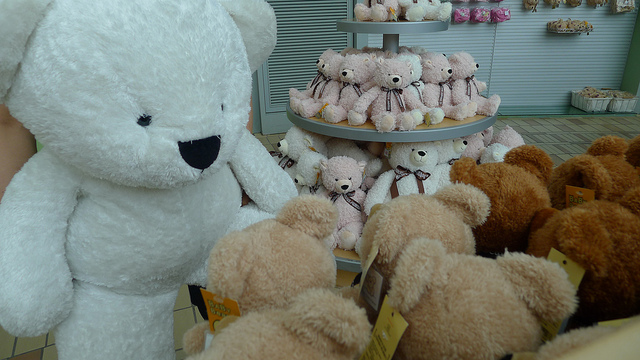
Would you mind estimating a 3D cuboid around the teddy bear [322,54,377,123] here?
[{"bbox_3d":[0.172,-0.529,2.714,0.258,0.382,0.327,6,32,14],"label":"teddy bear"}]

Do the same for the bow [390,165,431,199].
[{"bbox_3d":[0.480,0.013,2.468,0.183,0.041,0.179,-3,61,7],"label":"bow"}]

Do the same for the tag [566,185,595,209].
[{"bbox_3d":[0.985,0.073,1.809,0.107,0.104,0.007,2,-3,-2],"label":"tag"}]

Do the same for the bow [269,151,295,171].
[{"bbox_3d":[-0.237,-0.135,2.954,0.153,0.039,0.110,36,5,17],"label":"bow"}]

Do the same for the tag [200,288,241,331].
[{"bbox_3d":[-0.316,0.421,1.535,0.165,0.168,0.013,10,37,27],"label":"tag"}]

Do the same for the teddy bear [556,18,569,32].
[{"bbox_3d":[2.733,-1.756,5.361,0.138,0.132,0.052,8,-8,-20],"label":"teddy bear"}]

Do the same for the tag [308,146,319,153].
[{"bbox_3d":[-0.038,-0.180,2.768,0.058,0.017,0.023,42,12,-11],"label":"tag"}]

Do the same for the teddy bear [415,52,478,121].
[{"bbox_3d":[0.702,-0.549,2.739,0.402,0.445,0.318,8,22,30],"label":"teddy bear"}]

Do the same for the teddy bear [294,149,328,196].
[{"bbox_3d":[-0.045,-0.043,2.694,0.149,0.198,0.173,-26,38,-29],"label":"teddy bear"}]

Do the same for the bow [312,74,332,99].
[{"bbox_3d":[0.023,-0.552,2.861,0.039,0.138,0.092,19,13,-35],"label":"bow"}]

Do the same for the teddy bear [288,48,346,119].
[{"bbox_3d":[0.014,-0.578,2.829,0.380,0.400,0.273,-13,29,-28],"label":"teddy bear"}]

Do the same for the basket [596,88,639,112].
[{"bbox_3d":[3.388,-0.851,5.288,0.325,0.163,0.150,2,31,1],"label":"basket"}]

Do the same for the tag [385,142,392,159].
[{"bbox_3d":[0.382,-0.155,2.695,0.028,0.073,0.056,-1,7,-14],"label":"tag"}]

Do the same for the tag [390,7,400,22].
[{"bbox_3d":[0.434,-0.962,2.755,0.024,0.085,0.023,-19,-9,-26],"label":"tag"}]

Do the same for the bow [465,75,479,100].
[{"bbox_3d":[0.889,-0.551,2.798,0.074,0.111,0.031,-12,6,-33],"label":"bow"}]

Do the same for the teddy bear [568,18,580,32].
[{"bbox_3d":[2.863,-1.748,5.385,0.136,0.097,0.109,-14,34,-24],"label":"teddy bear"}]

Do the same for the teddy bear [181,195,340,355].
[{"bbox_3d":[-0.157,0.281,1.775,0.532,0.515,0.487,26,8,11],"label":"teddy bear"}]

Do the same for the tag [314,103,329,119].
[{"bbox_3d":[0.021,-0.398,2.720,0.078,0.029,0.058,-47,8,-14],"label":"tag"}]

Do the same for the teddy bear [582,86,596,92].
[{"bbox_3d":[3.156,-1.078,5.547,0.104,0.042,0.103,-2,25,12],"label":"teddy bear"}]

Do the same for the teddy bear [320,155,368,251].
[{"bbox_3d":[0.124,0.129,2.672,0.345,0.471,0.395,3,27,12],"label":"teddy bear"}]

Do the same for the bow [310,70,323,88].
[{"bbox_3d":[-0.004,-0.643,2.972,0.131,0.033,0.046,-51,40,-8],"label":"bow"}]

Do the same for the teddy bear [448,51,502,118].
[{"bbox_3d":[0.898,-0.572,2.802,0.259,0.342,0.280,-15,39,-12],"label":"teddy bear"}]

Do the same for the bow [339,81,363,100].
[{"bbox_3d":[0.180,-0.504,2.718,0.103,0.097,0.027,45,-2,19],"label":"bow"}]

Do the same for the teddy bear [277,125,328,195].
[{"bbox_3d":[-0.170,-0.152,2.906,0.270,0.361,0.304,6,23,-35],"label":"teddy bear"}]

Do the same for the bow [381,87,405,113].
[{"bbox_3d":[0.398,-0.440,2.612,0.152,0.154,0.018,2,4,2],"label":"bow"}]

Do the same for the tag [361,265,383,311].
[{"bbox_3d":[0.175,0.353,1.555,0.016,0.147,0.134,-8,17,-27],"label":"tag"}]

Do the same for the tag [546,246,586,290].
[{"bbox_3d":[0.786,0.286,1.506,0.108,0.107,0.006,32,13,19],"label":"tag"}]

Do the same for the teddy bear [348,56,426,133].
[{"bbox_3d":[0.388,-0.469,2.615,0.472,0.390,0.277,-4,24,-8],"label":"teddy bear"}]
